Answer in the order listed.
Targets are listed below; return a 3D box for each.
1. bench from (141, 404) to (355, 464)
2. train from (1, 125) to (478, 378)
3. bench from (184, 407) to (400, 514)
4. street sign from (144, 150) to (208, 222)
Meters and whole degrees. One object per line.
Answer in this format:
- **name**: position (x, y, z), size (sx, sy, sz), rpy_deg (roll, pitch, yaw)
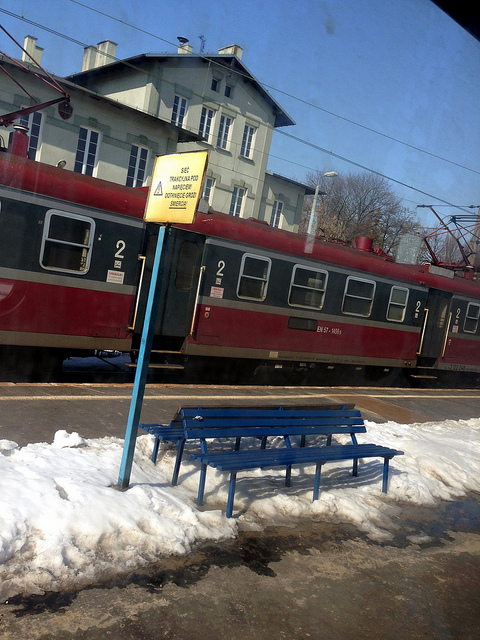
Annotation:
- **bench**: position (-0.122, 1.160, 5.013), size (1.987, 0.649, 0.642), rpy_deg (13, 0, -44)
- **train**: position (2.825, -0.225, 16.690), size (22.263, 7.011, 4.738), rpy_deg (4, -3, -37)
- **bench**: position (0.612, 1.371, 4.767), size (2.438, 0.766, 0.681), rpy_deg (7, -6, -34)
- **street sign**: position (-0.523, -1.063, 3.728), size (0.058, 0.560, 0.614), rpy_deg (29, 28, 26)
